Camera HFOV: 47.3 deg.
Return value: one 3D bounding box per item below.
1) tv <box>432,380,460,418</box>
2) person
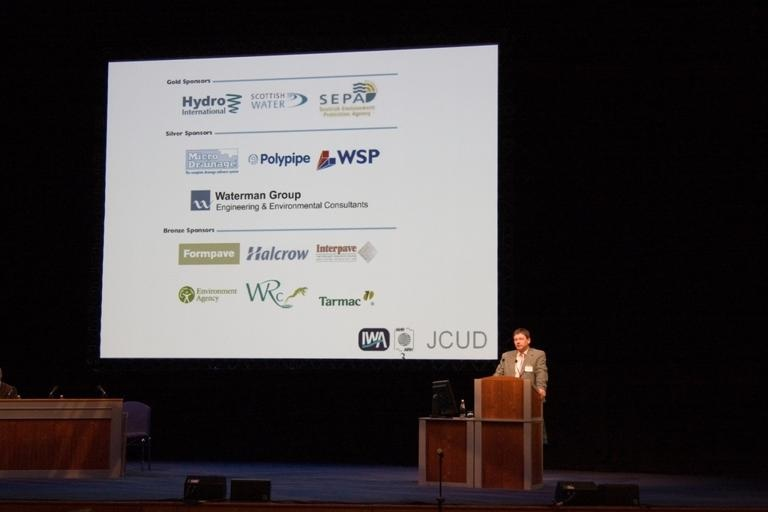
[{"bbox_3d":[0.647,1.506,9.281,0.280,0.374,0.224,0,-6,3],"label":"tv"},{"bbox_3d":[1.486,1.395,9.563,0.532,1.212,0.951,0,-6,7],"label":"person"}]
